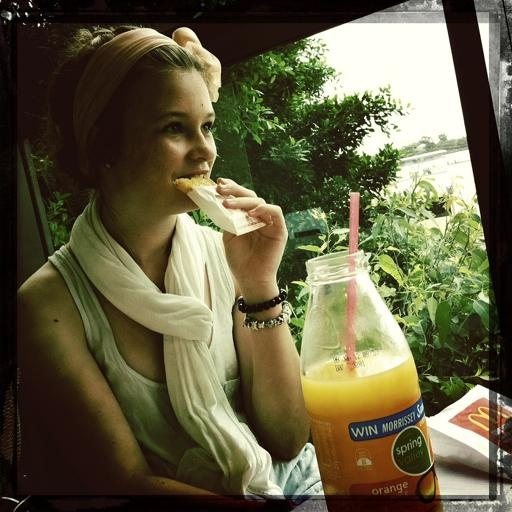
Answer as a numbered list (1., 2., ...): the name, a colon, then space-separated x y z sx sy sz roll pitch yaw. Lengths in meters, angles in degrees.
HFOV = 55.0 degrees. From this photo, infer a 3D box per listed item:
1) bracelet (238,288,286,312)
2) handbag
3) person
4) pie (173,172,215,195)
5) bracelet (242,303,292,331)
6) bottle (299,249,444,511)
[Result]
1. bracelet: 0.005 0.084 0.988 0.067 0.017 0.055 -14 9 -9
2. handbag: 0.431 0.357 1.006 0.146 0.042 0.141 -22 32 -31
3. person: -0.071 -0.037 1.530 0.863 1.352 0.776 3 10 35
4. pie: -0.122 -0.142 0.949 0.048 0.015 0.049 20 27 39
5. bracelet: 0.022 0.122 0.966 0.076 0.021 0.061 -16 16 0
6. bottle: 0.136 0.160 0.631 0.148 0.329 0.078 -5 3 8
